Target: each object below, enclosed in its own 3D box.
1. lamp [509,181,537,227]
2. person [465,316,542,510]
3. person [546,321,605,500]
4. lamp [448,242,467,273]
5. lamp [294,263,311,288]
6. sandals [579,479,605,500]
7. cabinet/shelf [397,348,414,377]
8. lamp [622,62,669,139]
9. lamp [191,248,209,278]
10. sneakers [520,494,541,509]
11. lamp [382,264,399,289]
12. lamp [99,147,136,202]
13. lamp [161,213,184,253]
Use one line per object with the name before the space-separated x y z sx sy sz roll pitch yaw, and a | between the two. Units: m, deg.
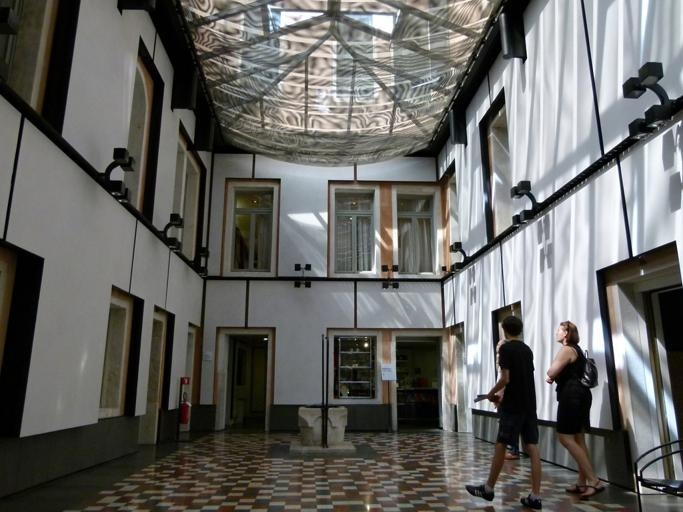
lamp | 3.290 -0.934 9.362 0.307 0.734 0.696 -3 -4 3
person | 1.948 1.781 6.106 0.684 2.176 0.401 -1 -12 5
person | 2.911 1.895 6.627 0.576 2.122 0.435 -2 -12 10
lamp | 2.812 -0.061 12.585 0.378 0.693 0.718 -2 -13 7
lamp | -1.082 0.542 14.266 0.492 0.819 0.181 0 -14 1
sandals | 3.040 2.842 6.444 0.316 0.205 0.263 -1 -13 4
cabinet/shelf | 2.591 4.175 20.552 0.833 1.498 1.093 -1 -8 4
lamp | 3.725 -1.845 6.326 0.331 0.728 0.556 2 -13 -6
lamp | -3.704 0.172 13.648 0.188 0.546 0.588 1 -21 -2
sneakers | 2.149 2.780 5.996 0.106 0.139 0.294 -2 -13 -7
lamp | 1.319 0.576 14.446 0.475 0.791 0.251 1 -14 -7
lamp | -3.504 -1.342 8.301 0.451 0.679 0.801 3 -13 -12
lamp | -3.611 -0.501 11.135 0.350 0.520 0.801 0 -10 -3
